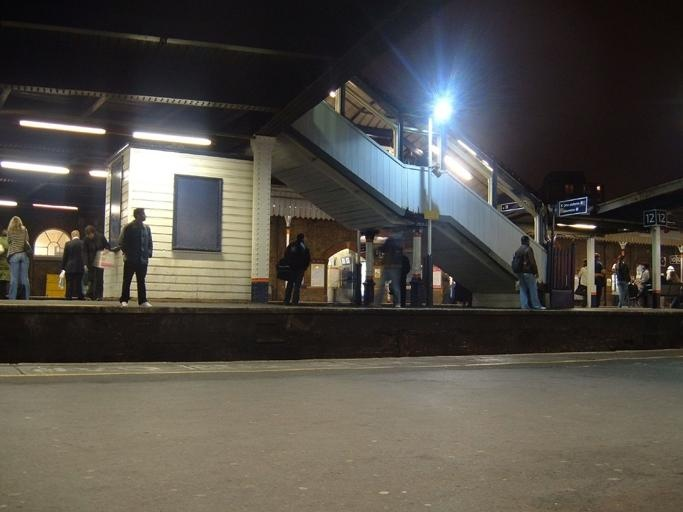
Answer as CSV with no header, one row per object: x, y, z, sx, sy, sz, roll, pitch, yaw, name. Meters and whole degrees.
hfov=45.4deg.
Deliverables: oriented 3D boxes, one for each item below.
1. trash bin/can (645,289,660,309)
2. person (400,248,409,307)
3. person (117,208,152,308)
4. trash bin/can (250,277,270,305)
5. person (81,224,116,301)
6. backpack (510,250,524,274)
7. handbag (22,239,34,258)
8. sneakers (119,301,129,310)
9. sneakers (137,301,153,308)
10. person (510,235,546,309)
9.330,1.308,24.508,0.304,0.633,1.088,2,5,17,trash bin/can
1.844,0.787,24.009,0.280,1.440,0.232,4,0,36,person
-3.841,0.014,15.260,0.566,1.775,1.481,0,5,-15,person
-1.917,0.875,19.113,0.456,0.950,0.482,1,-8,-9,trash bin/can
-6.303,0.228,20.964,0.677,2.008,0.606,0,5,-33,person
4.341,0.197,20.590,0.375,0.747,0.447,5,-6,-3,backpack
-7.209,-0.121,18.761,0.161,0.504,0.333,-3,5,-15,handbag
-3.797,0.861,14.278,0.168,0.079,0.237,3,5,-14,sneakers
-3.437,0.867,14.230,0.104,0.136,0.303,10,-14,-43,sneakers
4.591,0.424,20.315,0.636,1.779,1.041,1,5,-2,person
